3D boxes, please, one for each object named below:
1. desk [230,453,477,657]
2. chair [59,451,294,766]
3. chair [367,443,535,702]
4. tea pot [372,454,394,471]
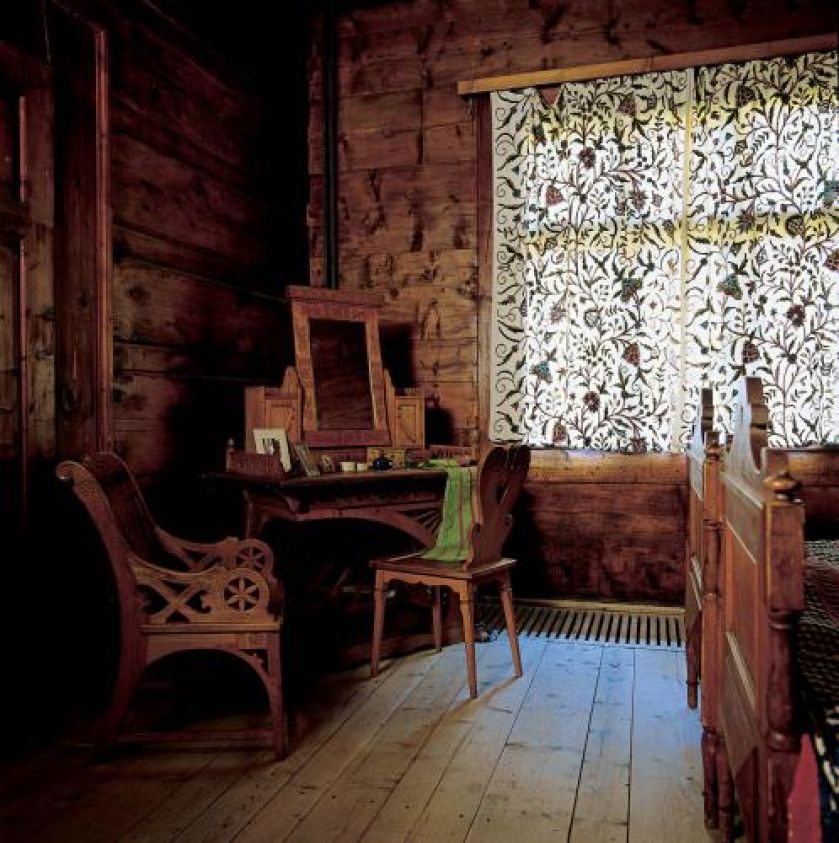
[{"bbox_3d":[-0.229,0.441,3.191,0.822,0.651,0.490,-3,7,-22],"label":"desk"},{"bbox_3d":[-0.637,0.561,2.715,0.781,1.314,0.696,0,-1,-5],"label":"chair"},{"bbox_3d":[0.129,0.542,2.957,0.508,0.967,0.446,4,3,42],"label":"chair"},{"bbox_3d":[-0.166,0.183,3.342,0.068,0.081,0.057,0,0,1],"label":"tea pot"}]
